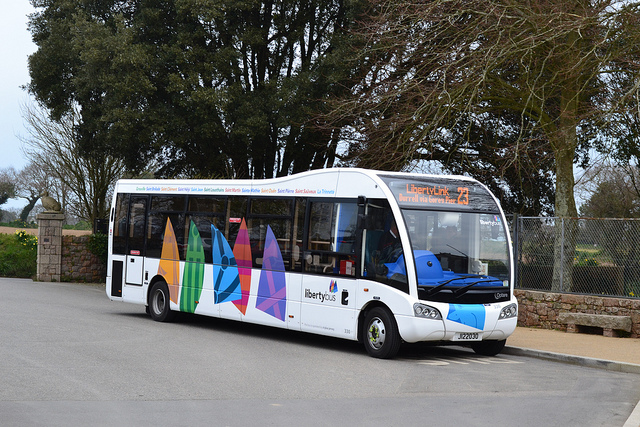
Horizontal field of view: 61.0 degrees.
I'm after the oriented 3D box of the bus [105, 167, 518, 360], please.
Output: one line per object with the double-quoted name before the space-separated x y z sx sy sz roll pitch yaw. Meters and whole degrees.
"bus" -1.302 1.134 15.691 10.931 4.377 3.842 0 -5 34
